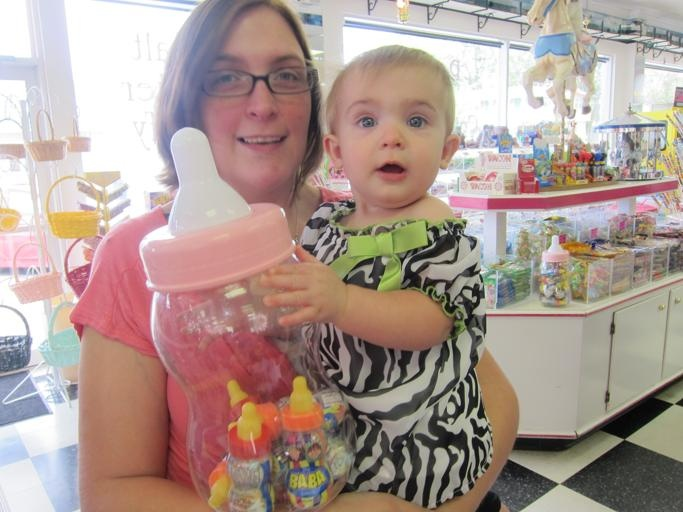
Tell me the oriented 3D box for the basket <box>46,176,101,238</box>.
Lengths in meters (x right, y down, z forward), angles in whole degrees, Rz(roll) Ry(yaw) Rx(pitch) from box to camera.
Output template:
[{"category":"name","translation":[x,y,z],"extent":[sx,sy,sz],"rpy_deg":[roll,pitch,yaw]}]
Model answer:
[{"category":"basket","translation":[-1.806,-0.330,3.563],"extent":[0.346,0.460,0.346],"rpy_deg":[-3,-2,-25]}]

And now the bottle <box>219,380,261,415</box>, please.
[{"category":"bottle","translation":[-0.236,0.321,1.198],"extent":[0.039,0.093,0.040],"rpy_deg":[-14,2,0]}]

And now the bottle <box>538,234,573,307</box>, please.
[{"category":"bottle","translation":[1.252,0.079,3.066],"extent":[0.175,0.392,0.200],"rpy_deg":[2,12,19]}]
